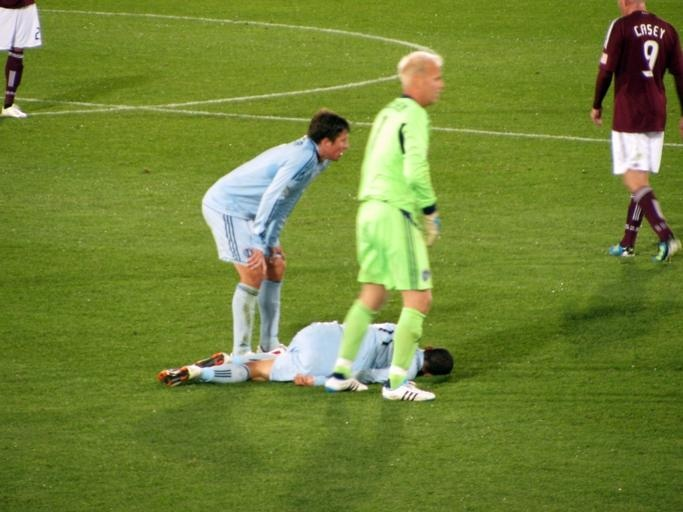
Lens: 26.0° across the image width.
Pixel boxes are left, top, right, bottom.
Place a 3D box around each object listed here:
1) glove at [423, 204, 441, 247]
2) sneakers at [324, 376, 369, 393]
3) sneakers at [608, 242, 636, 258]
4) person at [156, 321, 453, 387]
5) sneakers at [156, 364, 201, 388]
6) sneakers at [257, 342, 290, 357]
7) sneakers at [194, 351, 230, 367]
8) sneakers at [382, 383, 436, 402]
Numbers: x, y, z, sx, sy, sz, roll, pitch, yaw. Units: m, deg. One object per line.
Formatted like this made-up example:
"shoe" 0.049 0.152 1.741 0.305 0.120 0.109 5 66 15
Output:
"glove" 0.721 -0.193 11.883 0.117 0.184 0.179 -23 52 -9
"sneakers" 0.039 1.065 12.215 0.374 0.146 0.118 -1 37 -23
"sneakers" 2.706 -0.031 14.244 0.254 0.101 0.109 6 9 3
"person" -0.340 0.838 12.469 2.448 0.630 0.817 0 31 -5
"sneakers" -1.335 1.001 12.103 0.183 0.102 0.283 -1 4 24
"sneakers" -0.586 0.823 12.663 0.277 0.104 0.096 -5 -1 12
"sneakers" -1.084 0.904 12.469 0.108 0.089 0.341 21 18 39
"sneakers" 0.546 1.149 12.174 0.467 0.152 0.156 0 -3 -2
